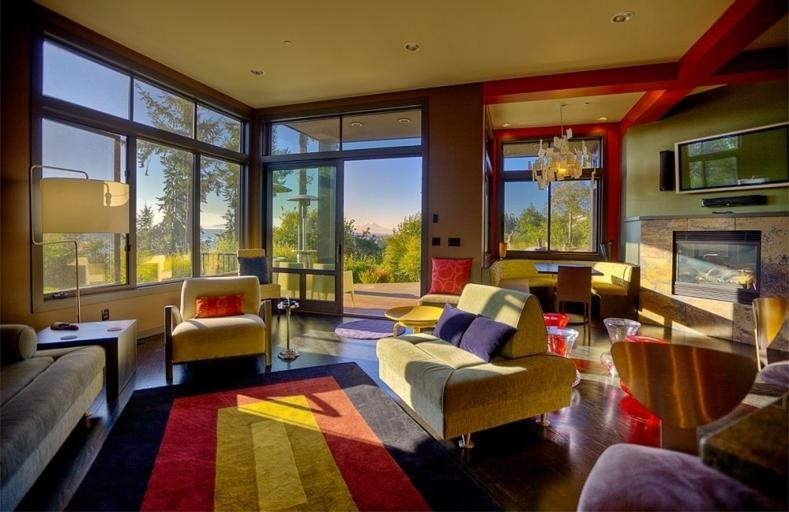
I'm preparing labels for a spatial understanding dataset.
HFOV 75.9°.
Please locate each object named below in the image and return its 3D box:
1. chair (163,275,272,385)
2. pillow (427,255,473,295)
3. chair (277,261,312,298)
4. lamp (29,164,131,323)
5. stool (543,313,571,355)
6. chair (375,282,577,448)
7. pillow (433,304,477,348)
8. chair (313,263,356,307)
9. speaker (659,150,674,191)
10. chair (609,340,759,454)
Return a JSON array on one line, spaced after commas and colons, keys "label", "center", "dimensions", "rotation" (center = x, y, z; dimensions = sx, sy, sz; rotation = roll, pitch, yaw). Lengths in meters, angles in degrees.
[{"label": "chair", "center": [-2.168, 0.882, 6.342], "dimensions": [1.226, 1.164, 1.227], "rotation": [0, -6, -18]}, {"label": "pillow", "center": [0.832, 0.272, 7.368], "dimensions": [0.556, 0.528, 0.203], "rotation": [1, -17, 26]}, {"label": "chair", "center": [-1.690, 0.386, 8.616], "dimensions": [0.536, 0.707, 0.598], "rotation": [2, 4, 30]}, {"label": "lamp", "center": [-3.724, 0.051, 5.945], "dimensions": [0.882, 2.368, 0.524], "rotation": [-4, 28, -34]}, {"label": "stool", "center": [1.907, 0.888, 5.932], "dimensions": [0.371, 0.383, 0.381], "rotation": [0, 2, -13]}, {"label": "chair", "center": [0.761, 0.902, 5.283], "dimensions": [1.574, 1.260, 1.661], "rotation": [1, -2, -19]}, {"label": "pillow", "center": [0.639, 0.759, 5.426], "dimensions": [0.123, 0.368, 0.395], "rotation": [32, -5, -37]}, {"label": "chair", "center": [-1.171, 0.508, 8.743], "dimensions": [0.525, 0.889, 0.521], "rotation": [1, 5, 11]}, {"label": "speaker", "center": [4.262, -1.349, 7.948], "dimensions": [0.274, 0.643, 0.184], "rotation": [3, 6, 43]}, {"label": "chair", "center": [2.441, 1.081, 4.346], "dimensions": [0.907, 0.855, 1.020], "rotation": [0, -3, 26]}]
